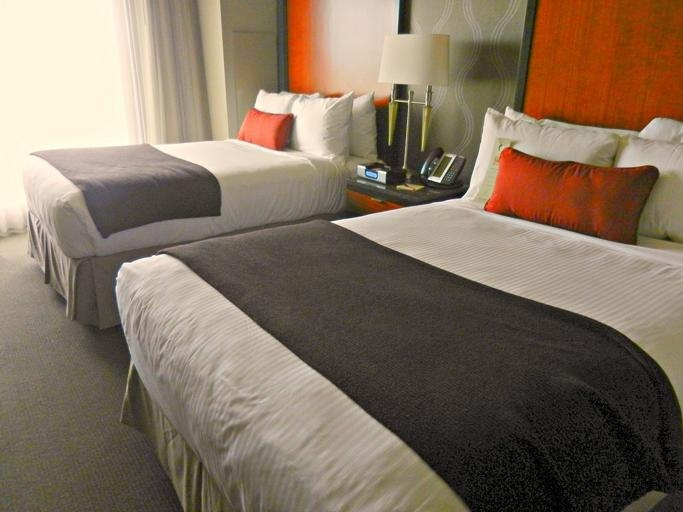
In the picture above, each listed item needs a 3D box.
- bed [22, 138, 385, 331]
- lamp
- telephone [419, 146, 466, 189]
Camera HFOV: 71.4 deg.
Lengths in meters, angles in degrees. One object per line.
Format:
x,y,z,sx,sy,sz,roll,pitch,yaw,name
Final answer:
-1.099,-0.303,3.325,1.571,0.721,1.598,-11,26,-38,bed
0.489,-1.099,3.471,0.477,0.992,0.567,3,24,-4,lamp
0.690,-0.621,3.330,0.324,0.225,0.227,1,-10,-30,telephone
